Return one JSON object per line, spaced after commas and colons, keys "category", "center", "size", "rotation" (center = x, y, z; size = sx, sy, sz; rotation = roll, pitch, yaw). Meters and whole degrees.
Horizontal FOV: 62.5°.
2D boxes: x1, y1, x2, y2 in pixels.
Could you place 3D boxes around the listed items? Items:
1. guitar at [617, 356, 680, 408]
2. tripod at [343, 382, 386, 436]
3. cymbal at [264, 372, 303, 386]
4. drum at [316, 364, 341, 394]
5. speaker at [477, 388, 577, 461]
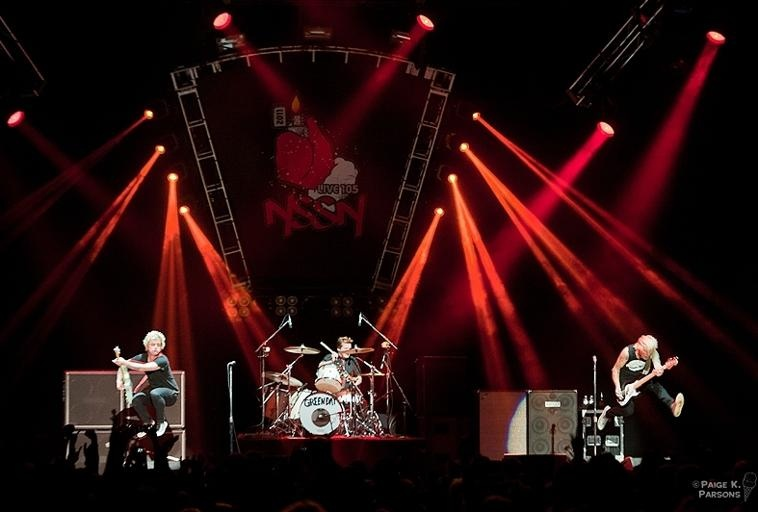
{"category": "guitar", "center": [4.200, 1.978, 9.769], "size": [1.031, 0.338, 0.147], "rotation": [-37, -26, 14]}
{"category": "tripod", "center": [-0.243, 2.512, 10.198], "size": [0.754, 0.903, 0.721], "rotation": [-8, -8, 11]}
{"category": "cymbal", "center": [-1.576, 2.060, 10.346], "size": [0.320, 0.066, 0.314], "rotation": [21, -9, -29]}
{"category": "drum", "center": [-0.758, 1.936, 9.872], "size": [0.390, 0.383, 0.403], "rotation": [-10, -52, 5]}
{"category": "speaker", "center": [2.389, 2.642, 10.018], "size": [1.447, 1.247, 0.500], "rotation": [-2, 16, 9]}
